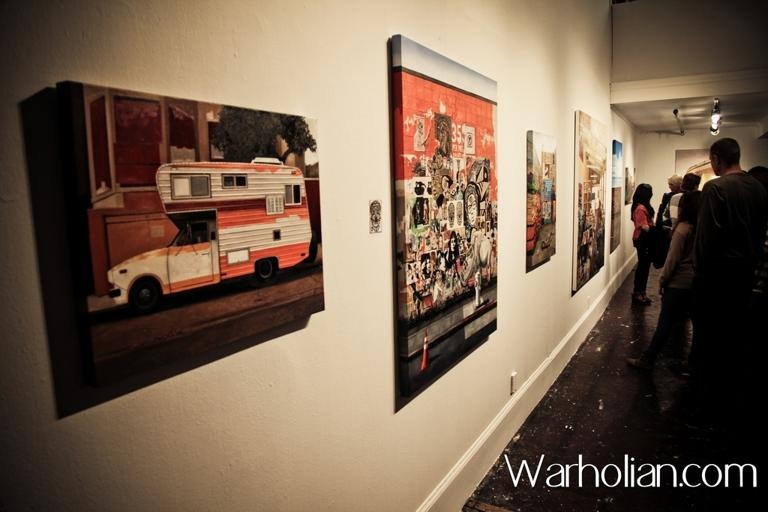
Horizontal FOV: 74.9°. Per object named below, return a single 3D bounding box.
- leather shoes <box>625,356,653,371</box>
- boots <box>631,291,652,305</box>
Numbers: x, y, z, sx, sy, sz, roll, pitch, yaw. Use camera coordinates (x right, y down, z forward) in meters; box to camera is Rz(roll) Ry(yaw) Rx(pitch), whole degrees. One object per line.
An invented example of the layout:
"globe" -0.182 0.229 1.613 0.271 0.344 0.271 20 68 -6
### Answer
"leather shoes" 2.549 1.071 5.072 0.080 0.115 0.233 -12 13 -34
"boots" 3.754 0.619 7.424 0.141 0.186 0.256 -7 8 -33
